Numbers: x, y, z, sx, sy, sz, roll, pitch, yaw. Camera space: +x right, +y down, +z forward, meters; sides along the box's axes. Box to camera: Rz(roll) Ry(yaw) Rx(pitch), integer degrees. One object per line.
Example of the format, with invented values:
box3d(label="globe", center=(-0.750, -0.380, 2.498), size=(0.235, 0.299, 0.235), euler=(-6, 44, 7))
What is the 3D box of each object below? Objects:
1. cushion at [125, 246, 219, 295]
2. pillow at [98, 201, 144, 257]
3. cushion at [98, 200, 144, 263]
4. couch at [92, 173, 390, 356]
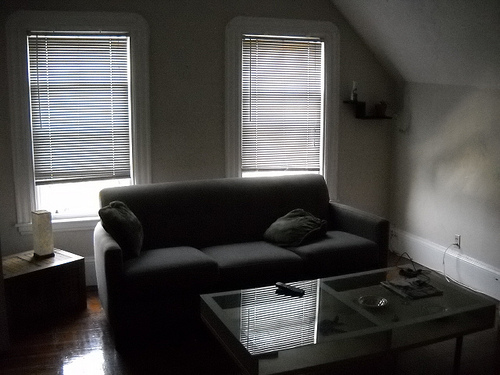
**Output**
box3d(label="cushion", center=(-0.598, 0.626, 3.171), size=(0.672, 0.205, 0.397), euler=(-5, 14, -19))
box3d(label="pillow", center=(-0.990, 0.327, 3.253), size=(0.280, 0.376, 0.309), euler=(-2, 12, -5))
box3d(label="cushion", center=(-0.989, 0.318, 3.326), size=(0.247, 0.417, 0.466), euler=(-10, 7, -5))
box3d(label="couch", center=(-0.093, 0.534, 3.661), size=(2.341, 1.130, 1.055), euler=(-3, 3, -25))
